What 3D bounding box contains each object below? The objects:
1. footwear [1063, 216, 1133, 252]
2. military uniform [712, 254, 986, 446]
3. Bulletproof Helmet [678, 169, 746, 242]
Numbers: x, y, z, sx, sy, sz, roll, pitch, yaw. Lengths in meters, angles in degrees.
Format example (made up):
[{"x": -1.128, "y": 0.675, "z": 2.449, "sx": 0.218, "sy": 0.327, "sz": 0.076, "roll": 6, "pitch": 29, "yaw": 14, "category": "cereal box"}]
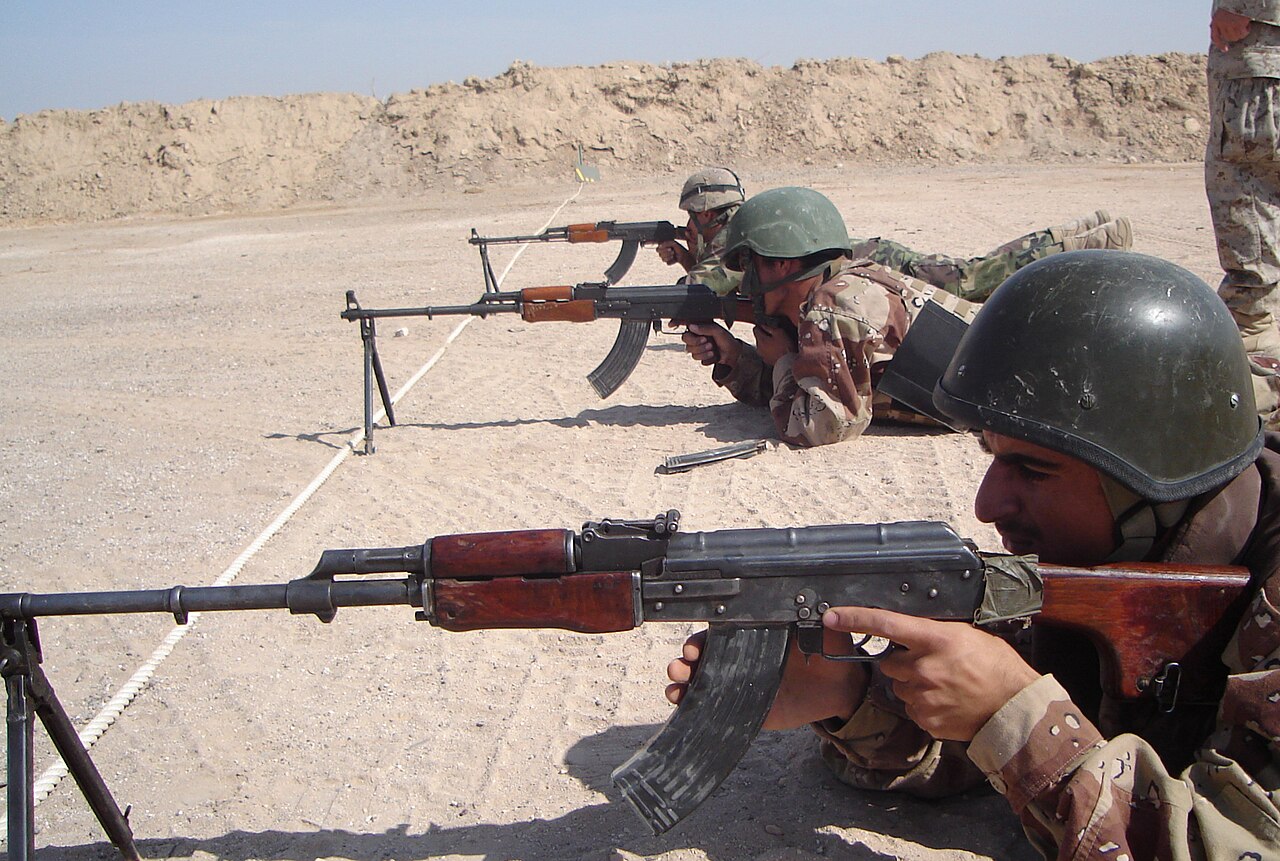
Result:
[{"x": 3.630, "y": -1.553, "z": 9.848, "sx": 0.462, "sy": 0.287, "sz": 0.840, "roll": 3, "pitch": 18, "yaw": 27, "category": "footwear"}, {"x": 1.501, "y": -0.553, "z": 9.421, "sx": 1.239, "sy": 0.814, "sz": 1.908, "roll": 19, "pitch": 9, "yaw": 19, "category": "military uniform"}, {"x": 0.721, "y": -2.295, "z": 12.493, "sx": 0.664, "sy": 0.693, "sz": 0.604, "roll": 4, "pitch": 17, "yaw": 41, "category": "Bulletproof Helmet"}]
